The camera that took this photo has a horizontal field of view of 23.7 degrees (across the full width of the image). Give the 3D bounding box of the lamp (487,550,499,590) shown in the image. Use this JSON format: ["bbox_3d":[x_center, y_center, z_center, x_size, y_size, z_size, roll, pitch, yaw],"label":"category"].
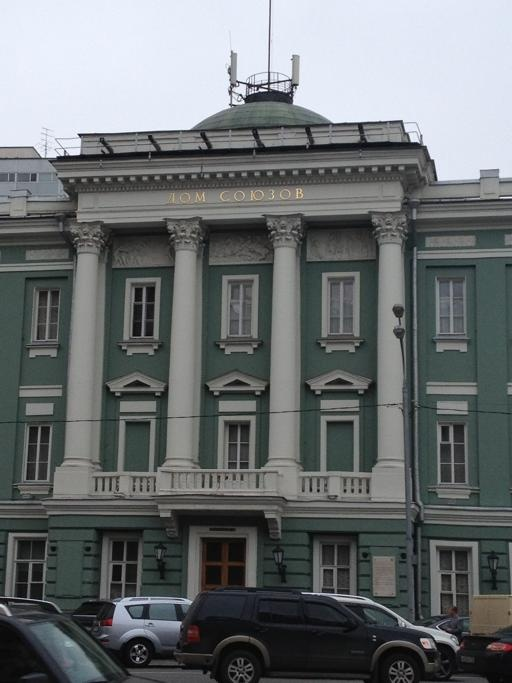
[{"bbox_3d":[6.400,6.182,33.108,0.313,1.062,0.473,-4,-19,10],"label":"lamp"}]

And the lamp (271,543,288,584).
[{"bbox_3d":[0.597,5.937,32.909,0.373,1.079,0.420,-1,-18,2],"label":"lamp"}]

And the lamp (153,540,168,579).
[{"bbox_3d":[-2.648,5.949,33.471,0.356,1.034,0.586,0,-19,-2],"label":"lamp"}]
